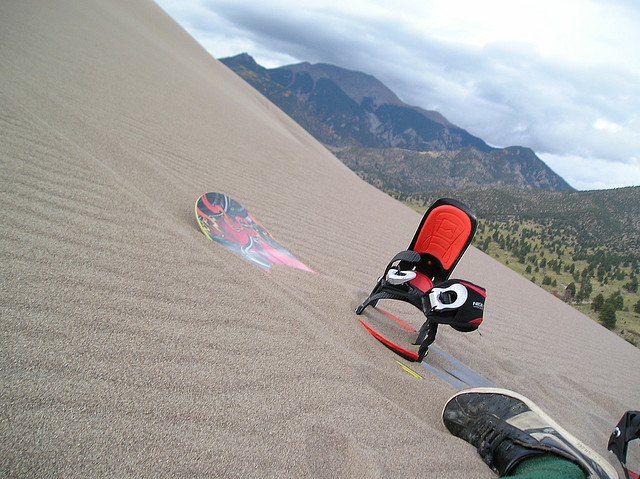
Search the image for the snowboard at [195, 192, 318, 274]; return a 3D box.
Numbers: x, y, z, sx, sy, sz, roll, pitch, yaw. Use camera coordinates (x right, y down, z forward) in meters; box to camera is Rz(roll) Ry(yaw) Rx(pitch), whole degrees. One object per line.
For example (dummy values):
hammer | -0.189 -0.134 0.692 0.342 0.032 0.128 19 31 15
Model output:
snowboard | -1.031 -0.043 6.318 2.222 0.668 0.315 32 -31 34
